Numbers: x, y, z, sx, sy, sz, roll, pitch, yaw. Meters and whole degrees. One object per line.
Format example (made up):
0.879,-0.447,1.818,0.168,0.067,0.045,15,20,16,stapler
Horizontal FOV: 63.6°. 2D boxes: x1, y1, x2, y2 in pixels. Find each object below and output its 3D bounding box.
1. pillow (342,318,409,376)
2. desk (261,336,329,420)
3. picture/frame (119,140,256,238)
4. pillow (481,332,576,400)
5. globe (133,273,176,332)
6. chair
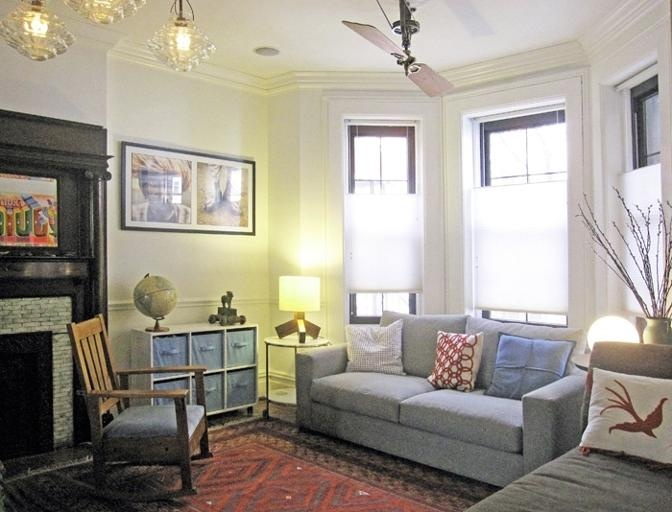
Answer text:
0.359,0.796,4.649,0.414,0.403,0.178,-1,-40,6,pillow
-0.338,1.101,5.173,0.729,0.806,0.681,0,2,-37,desk
-1.437,-0.632,5.064,0.954,0.564,0.025,3,-4,-39,picture/frame
1.416,0.763,4.030,0.383,0.608,0.698,14,-12,-43,pillow
-1.547,0.392,4.659,0.368,0.511,0.325,2,5,6,globe
-1.499,1.004,4.170,1.069,1.581,1.034,-1,-2,-2,chair
